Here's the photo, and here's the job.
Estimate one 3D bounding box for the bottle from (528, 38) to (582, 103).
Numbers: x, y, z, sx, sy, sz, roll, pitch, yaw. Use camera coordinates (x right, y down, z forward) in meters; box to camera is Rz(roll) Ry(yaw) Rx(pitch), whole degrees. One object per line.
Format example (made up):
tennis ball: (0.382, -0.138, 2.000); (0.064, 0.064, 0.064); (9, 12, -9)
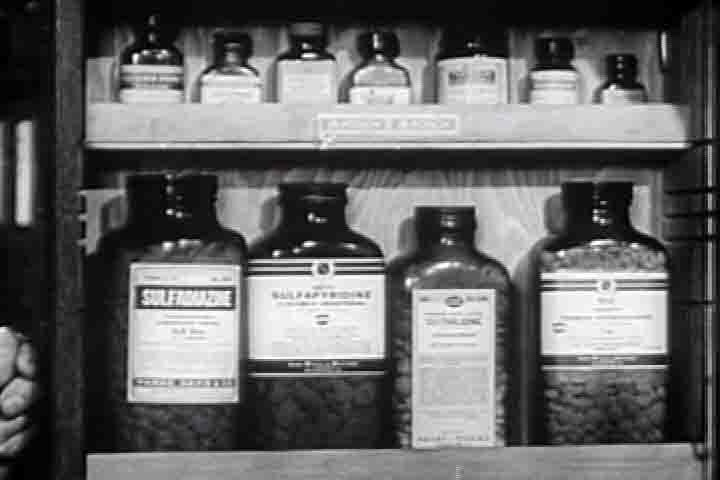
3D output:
bottle: (0.332, -0.287, 2.452); (0.106, 0.134, 0.104); (1, 10, 0)

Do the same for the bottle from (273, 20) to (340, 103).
bottle: (-0.092, -0.290, 2.433); (0.133, 0.150, 0.126); (1, 4, 12)

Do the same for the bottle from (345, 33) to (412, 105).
bottle: (0.033, -0.269, 2.434); (0.118, 0.174, 0.123); (-1, -6, 0)

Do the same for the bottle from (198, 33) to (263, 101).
bottle: (-0.221, -0.291, 2.417); (0.106, 0.130, 0.074); (0, 25, -10)

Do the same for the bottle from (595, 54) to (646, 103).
bottle: (0.457, -0.275, 2.432); (0.093, 0.109, 0.088); (-1, 3, -3)
